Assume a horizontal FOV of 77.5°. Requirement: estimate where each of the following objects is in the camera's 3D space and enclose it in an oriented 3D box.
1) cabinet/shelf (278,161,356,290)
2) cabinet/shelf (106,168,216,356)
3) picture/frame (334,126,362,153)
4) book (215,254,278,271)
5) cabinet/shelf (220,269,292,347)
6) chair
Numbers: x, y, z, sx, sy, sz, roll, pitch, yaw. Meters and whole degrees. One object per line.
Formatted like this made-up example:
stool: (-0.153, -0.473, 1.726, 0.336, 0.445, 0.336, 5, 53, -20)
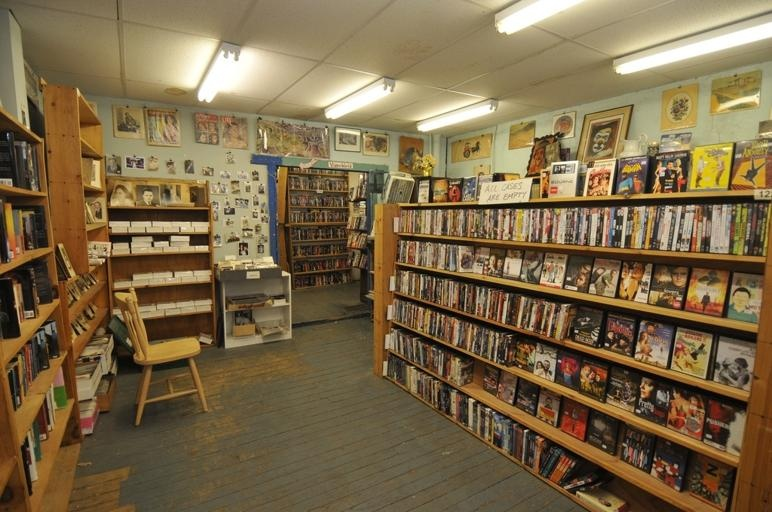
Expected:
cabinet/shelf: (-1.507, -0.605, 10.288, 1.650, 2.499, 0.926, -2, 9, -19)
cabinet/shelf: (-2.945, 0.159, 6.303, 1.344, 2.177, 0.369, 0, 21, -23)
picture/frame: (-0.718, -2.101, 8.646, 0.529, 0.402, 0.056, -1, 12, -30)
book: (-1.928, 0.117, 6.607, 0.755, 0.126, 0.477, -3, 8, -26)
cabinet/shelf: (-1.763, 0.721, 6.606, 0.981, 0.848, 0.459, -4, 6, -25)
chair: (-2.353, 1.034, 5.129, 0.957, 1.190, 0.811, -2, 3, -42)
